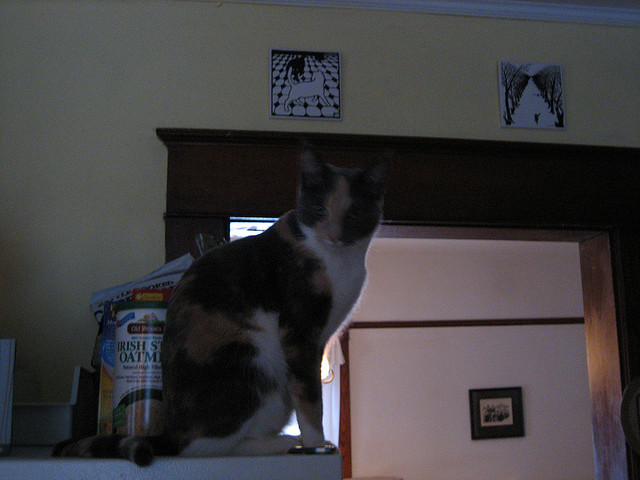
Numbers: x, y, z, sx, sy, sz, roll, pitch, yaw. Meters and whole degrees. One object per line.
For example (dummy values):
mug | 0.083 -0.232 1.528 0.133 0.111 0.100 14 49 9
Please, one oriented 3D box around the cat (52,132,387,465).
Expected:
cat | -0.232 0.174 2.197 0.785 0.918 0.521 -4 14 -15
